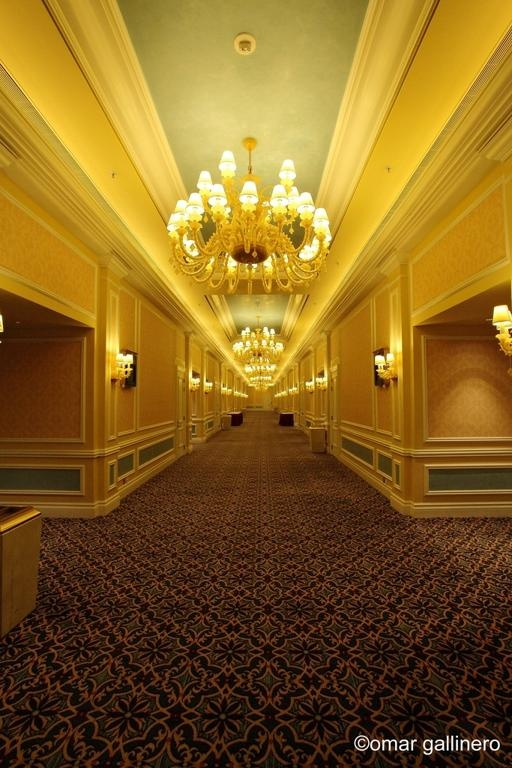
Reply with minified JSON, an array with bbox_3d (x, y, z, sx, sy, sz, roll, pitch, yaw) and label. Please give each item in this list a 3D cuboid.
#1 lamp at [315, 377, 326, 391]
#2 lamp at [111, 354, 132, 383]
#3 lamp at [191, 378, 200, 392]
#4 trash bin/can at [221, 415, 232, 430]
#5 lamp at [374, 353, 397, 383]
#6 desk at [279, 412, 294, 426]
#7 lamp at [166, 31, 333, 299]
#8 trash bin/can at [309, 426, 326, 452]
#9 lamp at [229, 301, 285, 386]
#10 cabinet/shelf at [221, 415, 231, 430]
[{"bbox_3d":[1.755,-0.014,12.303,0.256,0.318,0.220,1,-2,9],"label":"lamp"},{"bbox_3d":[-1.777,-0.208,5.928,0.112,0.359,0.355,1,-4,5],"label":"lamp"},{"bbox_3d":[-1.709,0.013,12.694,0.264,0.287,0.274,1,-6,-16],"label":"lamp"},{"bbox_3d":[-1.300,1.644,19.437,0.499,0.655,0.449,1,6,6],"label":"trash bin/can"},{"bbox_3d":[1.726,-0.219,6.007,0.214,0.476,0.364,-1,-6,-19],"label":"lamp"},{"bbox_3d":[1.386,1.654,21.037,0.669,0.535,0.972,0,2,2],"label":"desk"},{"bbox_3d":[-0.027,-2.507,4.426,1.602,2.756,1.611,1,2,-3],"label":"lamp"},{"bbox_3d":[1.568,1.409,11.271,0.412,0.567,0.492,-1,2,-5],"label":"trash bin/can"},{"bbox_3d":[-0.018,-1.427,15.918,1.795,4.452,1.893,-1,-6,0],"label":"lamp"},{"bbox_3d":[-1.294,1.636,19.412,0.478,0.623,0.442,0,4,-2],"label":"cabinet/shelf"}]
